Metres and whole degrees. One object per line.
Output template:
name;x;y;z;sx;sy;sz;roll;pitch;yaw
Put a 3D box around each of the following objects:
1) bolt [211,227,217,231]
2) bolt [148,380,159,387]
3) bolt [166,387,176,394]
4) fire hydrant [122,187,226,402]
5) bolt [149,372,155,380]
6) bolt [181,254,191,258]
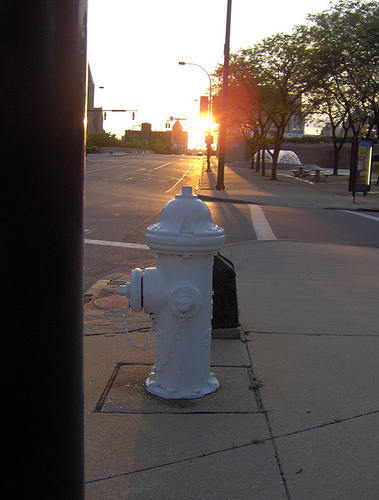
bolt;0.168;-0.144;3.294;0.037;0.020;0.104;1;10;3
bolt;-0.252;0.944;3.411;0.041;0.048;0.019;-5;13;-5
bolt;-0.125;0.968;3.331;0.046;0.010;0.041;-2;48;0
fire hydrant;-0.072;0.294;3.324;0.601;1.430;0.415;-9;15;-39
bolt;-0.272;0.916;3.528;0.038;0.032;0.036;0;3;6
bolt;-0.020;0.041;3.172;0.058;0.031;0.045;-1;11;-11
